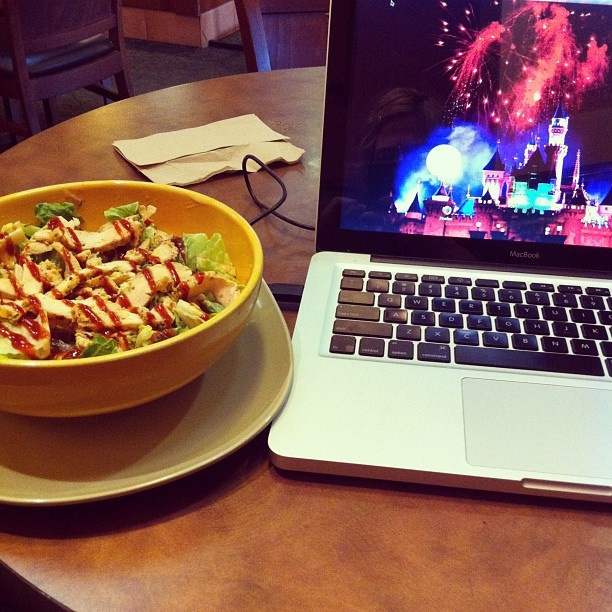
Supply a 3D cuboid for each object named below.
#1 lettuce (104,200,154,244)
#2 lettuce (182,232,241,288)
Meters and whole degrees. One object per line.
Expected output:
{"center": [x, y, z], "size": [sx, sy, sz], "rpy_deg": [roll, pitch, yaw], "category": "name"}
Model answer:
{"center": [-0.167, -0.080, 0.549], "size": [0.043, 0.012, 0.040], "rpy_deg": [-15, 52, -30], "category": "lettuce"}
{"center": [-0.083, -0.046, 0.551], "size": [0.039, 0.014, 0.054], "rpy_deg": [-7, 51, -2], "category": "lettuce"}
